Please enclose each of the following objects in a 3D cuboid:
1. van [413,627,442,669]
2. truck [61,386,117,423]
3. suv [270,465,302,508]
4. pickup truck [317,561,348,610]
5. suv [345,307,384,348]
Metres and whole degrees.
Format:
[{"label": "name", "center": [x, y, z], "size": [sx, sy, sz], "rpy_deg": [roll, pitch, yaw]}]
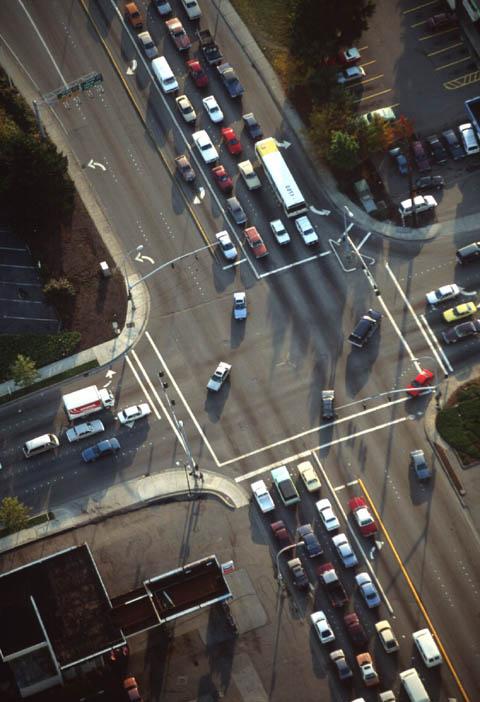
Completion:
[{"label": "van", "center": [19.512, 31.007, 140.322], "size": [2.070, 1.887, 4.661], "rpy_deg": [-20, 81, 5]}, {"label": "truck", "center": [-16.746, 5.947, 150.197], "size": [5.338, 3.394, 3.540], "rpy_deg": [-20, 61, -18]}, {"label": "suv", "center": [4.906, 14.516, 146.065], "size": [2.041, 2.368, 4.211], "rpy_deg": [-24, 61, -18]}, {"label": "pickup truck", "center": [9.582, 24.626, 142.433], "size": [2.062, 1.186, 5.402], "rpy_deg": [-1, 45, -26]}, {"label": "suv", "center": [14.006, -2.663, 151.684], "size": [2.555, 1.073, 5.062], "rpy_deg": [29, 93, 14]}]
